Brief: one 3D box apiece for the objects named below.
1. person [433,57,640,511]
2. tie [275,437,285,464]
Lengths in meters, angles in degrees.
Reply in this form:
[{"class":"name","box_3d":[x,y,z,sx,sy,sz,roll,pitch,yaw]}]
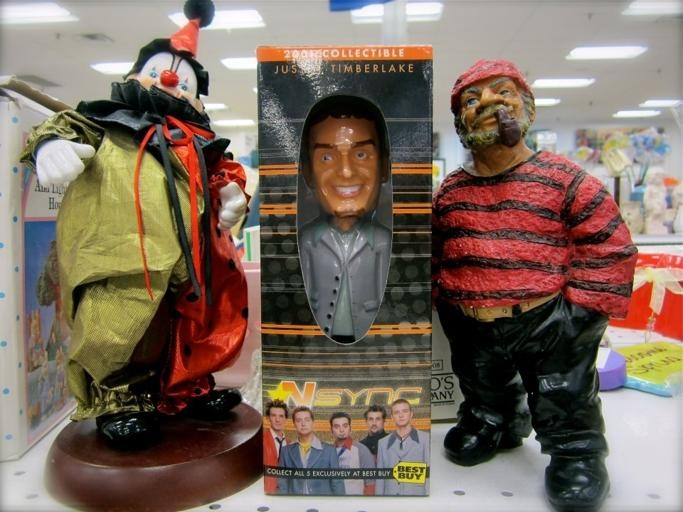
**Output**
[{"class":"person","box_3d":[0.709,0.080,2.383,0.704,1.687,0.336,0,2,38]},{"class":"tie","box_3d":[-0.224,0.707,2.268,0.028,0.068,0.053,5,-5,-3]}]
